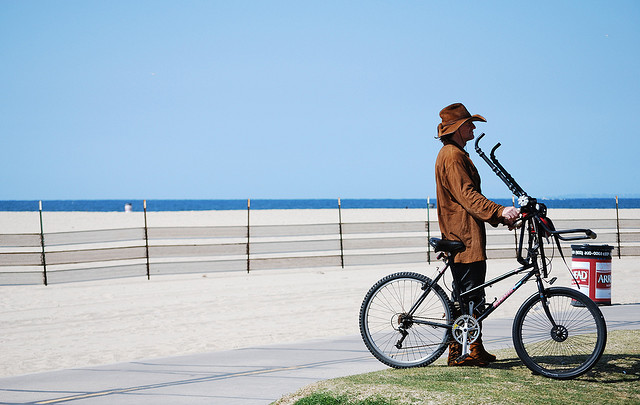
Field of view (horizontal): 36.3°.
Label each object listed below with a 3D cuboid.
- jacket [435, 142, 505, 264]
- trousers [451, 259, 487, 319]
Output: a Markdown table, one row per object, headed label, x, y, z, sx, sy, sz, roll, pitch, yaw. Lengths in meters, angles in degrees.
| label | x | y | z | sx | sy | sz | roll | pitch | yaw |
| --- | --- | --- | --- | --- | --- | --- | --- | --- | --- |
| jacket | 2.350 | 0.004 | 15.696 | 0.952 | 1.984 | 0.507 | -2 | -3 | 2 |
| trousers | 2.374 | 1.416 | 15.745 | 0.568 | 0.938 | 0.191 | -2 | -3 | 4 |
